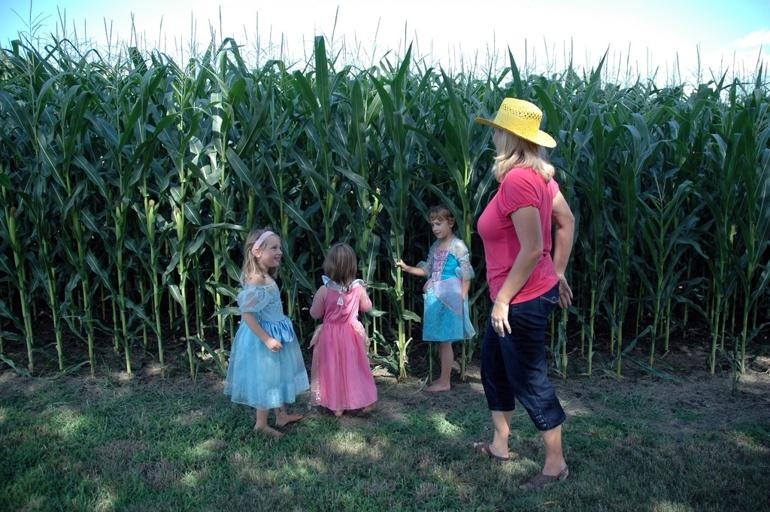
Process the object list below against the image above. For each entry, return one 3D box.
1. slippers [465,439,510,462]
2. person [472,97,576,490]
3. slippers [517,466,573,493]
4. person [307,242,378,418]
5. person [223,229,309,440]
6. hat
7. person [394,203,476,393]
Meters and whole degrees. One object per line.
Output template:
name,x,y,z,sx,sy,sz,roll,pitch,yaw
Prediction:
slippers,0.763,1.395,4.412,0.104,0.082,0.256,-11,24,-43
person,0.970,0.230,4.219,0.661,2.592,0.488,1,8,12
slippers,1.094,1.536,4.167,0.358,0.121,0.137,-14,-1,-11
person,-0.345,0.577,5.031,0.539,1.457,0.508,-4,20,-14
person,-0.948,0.557,4.783,0.550,1.519,0.572,5,10,32
hat,0.922,-0.935,4.212,0.511,0.277,0.660,17,11,6
person,0.498,0.360,5.271,0.552,1.570,0.318,0,8,4
